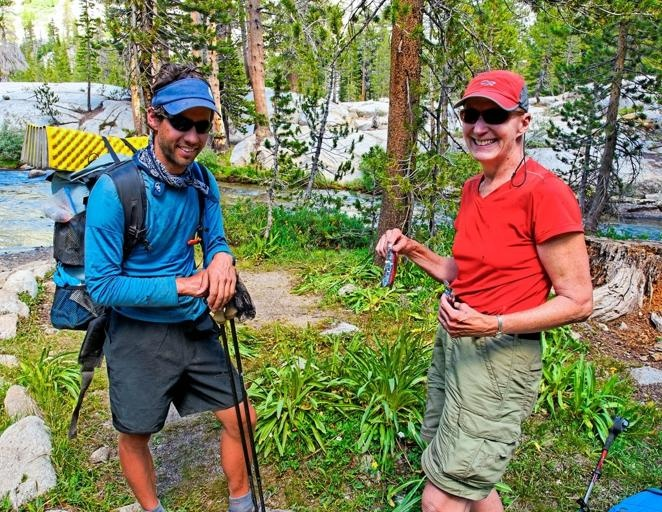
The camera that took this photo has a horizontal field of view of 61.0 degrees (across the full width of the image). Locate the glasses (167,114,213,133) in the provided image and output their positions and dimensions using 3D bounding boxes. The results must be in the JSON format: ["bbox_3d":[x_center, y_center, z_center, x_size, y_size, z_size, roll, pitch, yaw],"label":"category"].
[{"bbox_3d":[-0.902,-0.843,3.620,0.104,0.112,0.290,11,12,43],"label":"glasses"}]

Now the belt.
[{"bbox_3d":[0.888,0.389,3.298,0.397,0.156,0.291,5,9,-8],"label":"belt"}]

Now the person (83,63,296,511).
[{"bbox_3d":[-1.063,0.270,3.681,1.011,2.971,0.576,-1,9,-25],"label":"person"}]

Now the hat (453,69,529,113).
[{"bbox_3d":[0.999,-1.005,3.433,0.423,0.256,0.238,6,9,17],"label":"hat"}]
